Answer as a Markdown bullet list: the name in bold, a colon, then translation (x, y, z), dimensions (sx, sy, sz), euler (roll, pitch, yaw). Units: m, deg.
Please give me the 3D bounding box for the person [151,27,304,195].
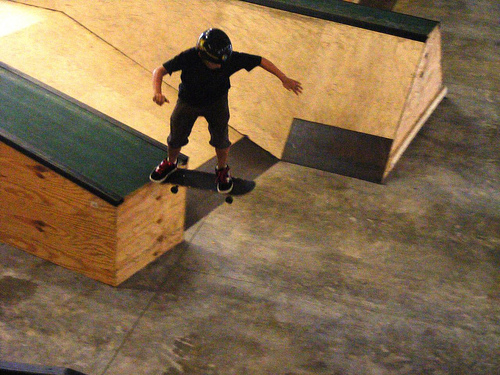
- **person**: translation (-0.295, -0.594, 5.165), dimensions (1.025, 2.186, 1.506), euler (18, 44, 12)
